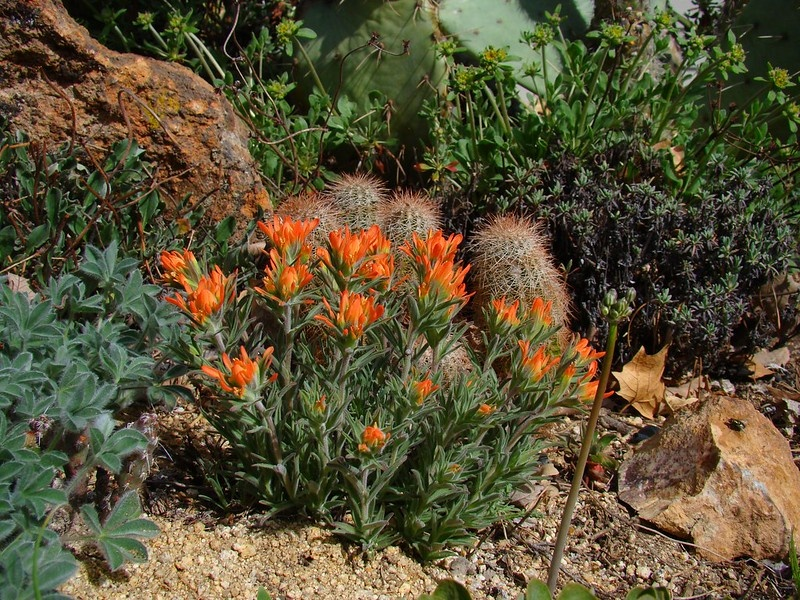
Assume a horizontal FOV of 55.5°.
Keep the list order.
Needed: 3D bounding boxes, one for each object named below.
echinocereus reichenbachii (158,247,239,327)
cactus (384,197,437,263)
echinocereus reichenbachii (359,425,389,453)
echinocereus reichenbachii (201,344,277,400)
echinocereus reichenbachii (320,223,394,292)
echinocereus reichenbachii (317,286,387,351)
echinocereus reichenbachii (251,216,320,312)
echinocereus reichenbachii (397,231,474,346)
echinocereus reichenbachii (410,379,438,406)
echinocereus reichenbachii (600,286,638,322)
[{"bbox_3d":[-0.637,0.006,2.475,0.199,0.266,0.139,42,65,18],"label":"echinocereus reichenbachii"},{"bbox_3d":[0.045,-0.365,3.448,0.255,0.290,0.313,-2,74,-1],"label":"cactus"},{"bbox_3d":[-0.082,0.434,2.355,0.078,0.100,0.089,15,72,-2],"label":"echinocereus reichenbachii"},{"bbox_3d":[-0.487,0.212,2.409,0.157,0.117,0.192,-18,42,-7],"label":"echinocereus reichenbachii"},{"bbox_3d":[-0.175,-0.121,2.536,0.204,0.243,0.224,10,4,8],"label":"echinocereus reichenbachii"},{"bbox_3d":[-0.165,0.064,2.450,0.177,0.206,0.195,-9,28,-32],"label":"echinocereus reichenbachii"},{"bbox_3d":[-0.367,-0.148,2.490,0.180,0.242,0.280,6,33,-10],"label":"echinocereus reichenbachii"},{"bbox_3d":[0.113,-0.040,2.618,0.249,0.412,0.300,10,31,-3],"label":"echinocereus reichenbachii"},{"bbox_3d":[0.080,0.281,2.480,0.064,0.084,0.080,14,46,-10],"label":"echinocereus reichenbachii"},{"bbox_3d":[0.783,0.015,2.740,0.094,0.128,0.099,-7,35,-9],"label":"echinocereus reichenbachii"}]
